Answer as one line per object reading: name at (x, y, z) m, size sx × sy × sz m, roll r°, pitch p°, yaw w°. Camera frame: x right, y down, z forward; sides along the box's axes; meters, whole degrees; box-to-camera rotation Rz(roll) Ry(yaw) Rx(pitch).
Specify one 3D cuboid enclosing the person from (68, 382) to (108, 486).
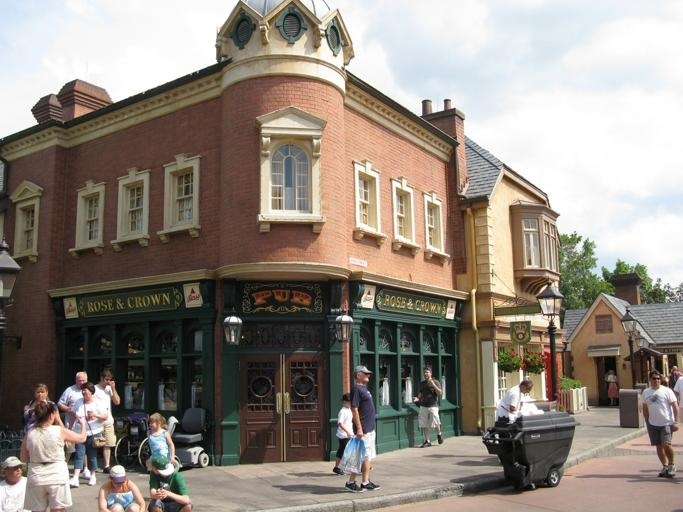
person at (-5.889, 4.082, 17.012) m, size 1.025 × 3.254 × 0.895 m, roll -4°, pitch -6°, yaw 38°

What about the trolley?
trolley at (4.297, 4.425, 16.808) m, size 2.146 × 1.593 × 1.377 m, roll 4°, pitch -12°, yaw -33°

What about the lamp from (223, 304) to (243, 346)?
lamp at (-2.809, 1.740, 18.904) m, size 0.499 × 1.068 × 0.817 m, roll 0°, pitch -15°, yaw -9°

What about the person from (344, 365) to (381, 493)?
person at (0.469, 3.791, 16.225) m, size 0.587 × 2.524 × 0.814 m, roll 1°, pitch -4°, yaw 13°

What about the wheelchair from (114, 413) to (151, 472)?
wheelchair at (-5.433, 4.848, 19.028) m, size 0.876 × 1.544 × 1.034 m, roll 4°, pitch -4°, yaw -39°

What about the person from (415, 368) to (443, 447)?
person at (2.645, 4.573, 22.194) m, size 0.645 × 2.422 × 0.782 m, roll 6°, pitch -6°, yaw -38°

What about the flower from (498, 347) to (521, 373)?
flower at (5.576, 3.452, 24.537) m, size 0.748 × 0.776 × 0.775 m, roll 9°, pitch 15°, yaw 27°

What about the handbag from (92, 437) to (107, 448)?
handbag at (-5.638, 4.316, 16.997) m, size 0.149 × 0.318 × 0.309 m, roll -10°, pitch -13°, yaw 33°

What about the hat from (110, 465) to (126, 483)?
hat at (-3.890, 3.779, 12.712) m, size 0.257 × 0.278 × 0.309 m, roll 2°, pitch -15°, yaw -16°

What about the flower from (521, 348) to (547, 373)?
flower at (6.306, 3.384, 23.730) m, size 0.742 × 0.783 × 0.701 m, roll 3°, pitch -4°, yaw -40°

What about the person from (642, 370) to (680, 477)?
person at (7.521, 3.995, 17.495) m, size 0.736 × 2.256 × 1.028 m, roll -3°, pitch -6°, yaw 35°

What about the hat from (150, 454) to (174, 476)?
hat at (-3.203, 3.745, 13.099) m, size 0.425 × 0.375 × 0.305 m, roll 2°, pitch -15°, yaw -17°

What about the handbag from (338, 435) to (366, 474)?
handbag at (0.167, 4.349, 16.021) m, size 0.690 × 0.787 × 0.313 m, roll -15°, pitch -19°, yaw 41°

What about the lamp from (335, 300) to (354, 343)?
lamp at (0.034, 1.751, 19.752) m, size 0.511 × 1.086 × 0.916 m, roll -2°, pitch -14°, yaw 0°
